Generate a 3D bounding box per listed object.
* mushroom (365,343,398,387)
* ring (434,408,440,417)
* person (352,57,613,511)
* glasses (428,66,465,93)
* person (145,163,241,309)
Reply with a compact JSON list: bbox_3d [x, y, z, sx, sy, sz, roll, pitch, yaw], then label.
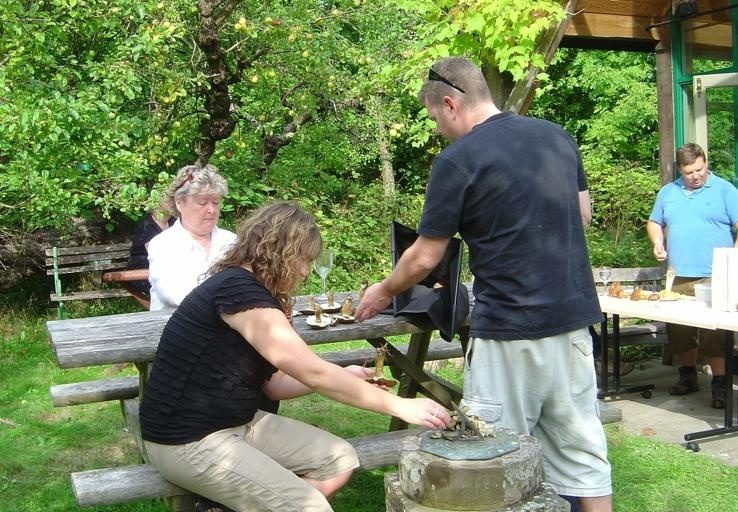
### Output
[{"bbox_3d":[0.068,0.602,3.656,0.299,0.284,0.266,0,-4,0],"label":"mushroom"},{"bbox_3d":[0.313,0.719,2.956,0.030,0.025,0.010,-4,-14,32],"label":"ring"},{"bbox_3d":[0.726,0.167,3.676,1.049,2.251,1.126,1,2,41],"label":"person"},{"bbox_3d":[0.409,-0.925,3.439,0.184,0.047,0.168,21,6,-12],"label":"glasses"},{"bbox_3d":[-1.324,-0.107,4.806,0.866,1.175,0.720,-2,16,-15],"label":"person"}]
